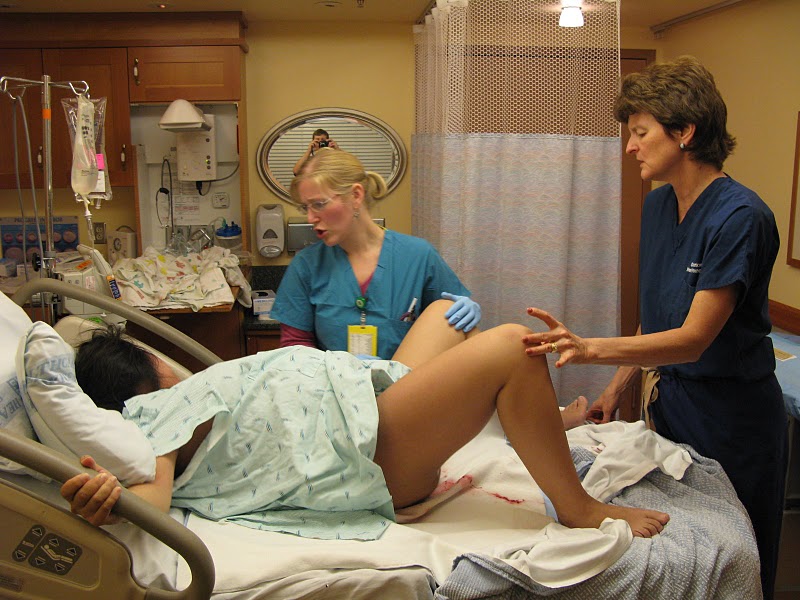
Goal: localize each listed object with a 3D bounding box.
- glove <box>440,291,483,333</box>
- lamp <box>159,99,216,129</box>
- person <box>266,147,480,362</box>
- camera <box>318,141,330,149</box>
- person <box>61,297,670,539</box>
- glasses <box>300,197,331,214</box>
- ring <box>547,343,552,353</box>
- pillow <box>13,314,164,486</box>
[{"bbox_3d":[0.199,0.038,2.240,0.146,0.050,0.217,24,30,0],"label":"glove"},{"bbox_3d":[-1.247,-1.086,3.930,0.248,0.171,0.299,-2,11,-6],"label":"lamp"},{"bbox_3d":[-0.113,-0.122,2.525,0.753,0.917,0.599,-4,10,2],"label":"person"},{"bbox_3d":[-0.290,-0.604,2.586,0.043,0.027,0.078,-2,11,-7],"label":"camera"},{"bbox_3d":[-0.119,0.358,1.988,1.572,0.546,1.398,7,-4,-15],"label":"person"},{"bbox_3d":[-0.319,-0.352,2.483,0.066,0.052,0.157,-9,14,-35],"label":"glasses"},{"bbox_3d":[0.393,0.128,1.784,0.012,0.017,0.015,7,12,14],"label":"ring"},{"bbox_3d":[-0.803,0.242,1.694,0.117,0.392,0.368,-33,51,10],"label":"pillow"}]
